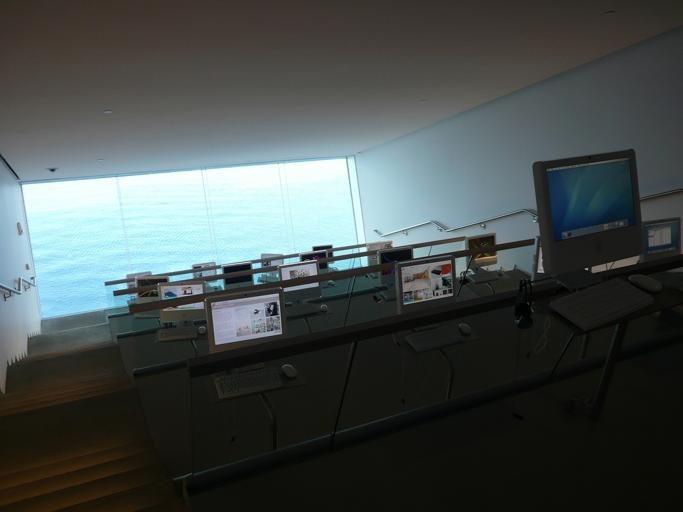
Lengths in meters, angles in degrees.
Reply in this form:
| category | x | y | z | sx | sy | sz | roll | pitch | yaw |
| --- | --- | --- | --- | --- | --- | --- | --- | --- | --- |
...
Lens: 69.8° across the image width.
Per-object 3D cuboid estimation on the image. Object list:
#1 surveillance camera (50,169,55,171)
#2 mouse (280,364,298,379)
| category | x | y | z | sx | sy | sz | roll | pitch | yaw |
| --- | --- | --- | --- | --- | --- | --- | --- | --- | --- |
| surveillance camera | -5.085 | -1.509 | 8.614 | 0.071 | 0.018 | 0.042 | 0 | -1 | 8 |
| mouse | -0.241 | 0.542 | 2.279 | 0.067 | 0.047 | 0.059 | -9 | 6 | -4 |
